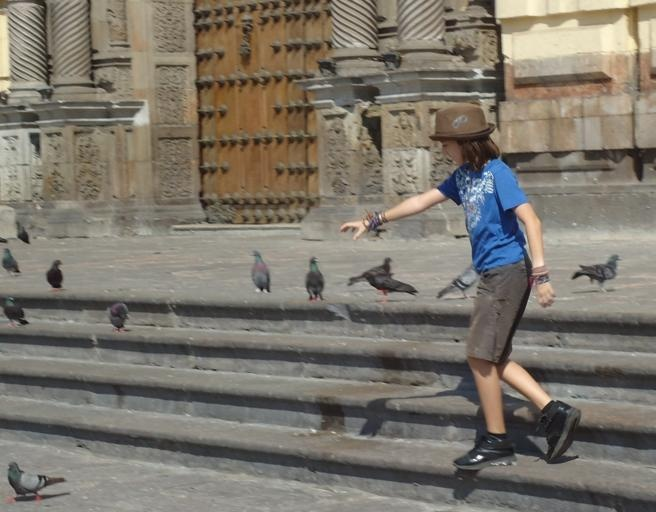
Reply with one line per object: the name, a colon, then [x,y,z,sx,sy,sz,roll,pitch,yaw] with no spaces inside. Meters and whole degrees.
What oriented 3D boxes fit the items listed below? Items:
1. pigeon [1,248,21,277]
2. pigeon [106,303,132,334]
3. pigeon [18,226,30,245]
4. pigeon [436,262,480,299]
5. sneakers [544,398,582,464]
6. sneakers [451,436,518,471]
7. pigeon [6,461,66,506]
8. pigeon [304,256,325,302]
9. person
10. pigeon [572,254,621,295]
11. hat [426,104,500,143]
pigeon: [-3.254,0.055,14.975,0.171,0.265,0.368,-4,6,-11]
pigeon: [-1.819,0.526,12.707,0.173,0.249,0.425,-4,5,-8]
pigeon: [-3.830,-0.261,18.281,0.174,0.270,0.100,-6,1,10]
pigeon: [1.078,0.216,12.233,0.420,0.221,0.135,5,-3,-39]
sneakers: [1.649,1.245,10.334,0.292,0.435,0.105,-1,7,19]
sneakers: [1.054,1.426,10.455,0.555,0.189,0.198,-4,4,-12]
pigeon: [-2.175,1.666,10.863,0.399,0.303,0.246,-4,6,-11]
pigeon: [-0.114,0.193,12.487,0.153,0.356,0.428,-4,5,-1]
person: [1.095,0.233,10.432,1.208,2.633,0.507,2,9,43]
pigeon: [2.209,0.133,12.585,0.594,0.290,0.236,7,-7,-5]
hat: [0.953,-0.975,10.593,0.504,0.265,0.358,-6,12,-36]
